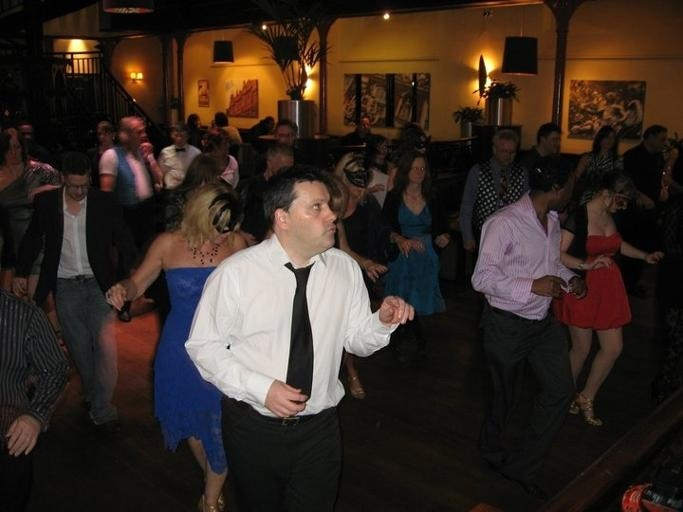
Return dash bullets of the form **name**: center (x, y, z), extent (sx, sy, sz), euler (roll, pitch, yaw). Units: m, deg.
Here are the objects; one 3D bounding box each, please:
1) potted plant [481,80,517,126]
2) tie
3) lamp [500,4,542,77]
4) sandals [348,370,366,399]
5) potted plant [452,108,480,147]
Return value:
- **potted plant**: center (3.511, -3.249, 11.399), extent (0.827, 1.049, 1.019), euler (4, -1, 12)
- **tie**: center (-0.151, 0.253, 1.872), extent (0.093, 0.433, 0.170), euler (-1, 17, -3)
- **lamp**: center (3.872, -4.599, 11.126), extent (0.710, 1.494, 2.549), euler (6, 17, 18)
- **sandals**: center (0.113, 1.002, 4.068), extent (0.087, 0.067, 0.250), euler (-15, 57, -13)
- **potted plant**: center (2.979, -3.195, 12.574), extent (0.763, 0.744, 0.640), euler (1, 5, -2)
